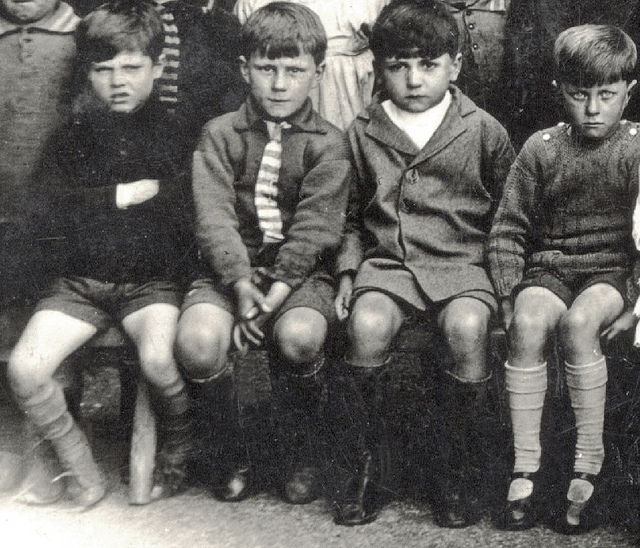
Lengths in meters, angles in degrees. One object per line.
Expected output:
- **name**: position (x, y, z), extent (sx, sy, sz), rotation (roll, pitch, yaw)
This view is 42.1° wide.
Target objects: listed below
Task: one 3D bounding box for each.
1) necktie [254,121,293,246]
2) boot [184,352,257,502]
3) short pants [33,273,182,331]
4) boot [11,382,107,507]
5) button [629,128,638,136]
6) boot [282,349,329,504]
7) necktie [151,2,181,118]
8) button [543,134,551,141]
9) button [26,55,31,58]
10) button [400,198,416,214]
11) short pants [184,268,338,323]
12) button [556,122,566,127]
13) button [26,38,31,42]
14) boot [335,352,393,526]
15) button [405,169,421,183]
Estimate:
- **necktie**: position (-0.187, -0.358, 3.281), extent (0.142, 0.458, 0.176), rotation (0, 21, 11)
- **boot**: position (-0.370, 0.599, 3.184), extent (0.215, 0.560, 0.139), rotation (-9, 21, -13)
- **short pants**: position (-0.858, 0.090, 3.280), extent (0.456, 0.164, 0.249), rotation (1, -4, 0)
- **boot**: position (-0.954, 0.669, 3.286), extent (0.207, 0.633, 0.169), rotation (-27, 3, 0)
- **button**: position (1.155, -0.524, 3.075), extent (0.030, 0.024, 0.021), rotation (0, 21, 9)
- **boot**: position (-0.064, 0.585, 3.133), extent (0.180, 0.594, 0.111), rotation (-1, 21, 8)
- **necktie**: position (-0.586, -0.854, 3.273), extent (0.124, 0.337, 0.242), rotation (2, 3, -13)
- **button**: position (0.857, -0.517, 3.157), extent (0.025, 0.026, 0.006), rotation (-1, -10, 20)
- **button**: position (-1.153, -0.862, 3.298), extent (0.019, 0.010, 0.003), rotation (1, 21, 11)
- **button**: position (0.337, -0.260, 3.203), extent (0.060, 0.059, 0.014), rotation (-2, 20, 3)
- **short pants**: position (-0.250, 0.126, 3.342), extent (0.561, 0.175, 0.613), rotation (5, 13, 4)
- **button**: position (0.907, -0.563, 3.143), extent (0.030, 0.016, 0.011), rotation (16, 28, 42)
- **button**: position (-1.154, -0.929, 3.303), extent (0.012, 0.012, 0.003), rotation (1, -8, -2)
- **boot**: position (0.160, 0.602, 3.119), extent (0.174, 0.641, 0.288), rotation (4, 22, 20)
- **button**: position (0.352, -0.376, 3.195), extent (0.052, 0.052, 0.013), rotation (-1, -4, -4)
